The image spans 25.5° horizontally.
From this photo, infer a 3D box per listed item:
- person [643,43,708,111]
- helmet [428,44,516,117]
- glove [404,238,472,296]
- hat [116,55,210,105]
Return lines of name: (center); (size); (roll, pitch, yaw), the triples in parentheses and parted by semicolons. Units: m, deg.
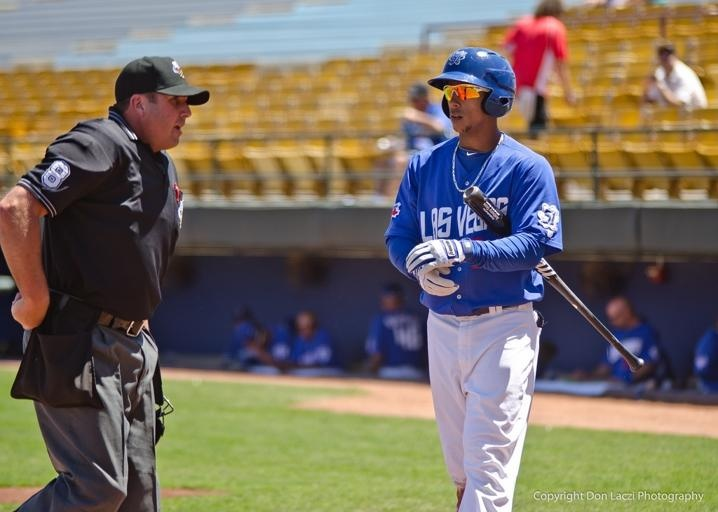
person: (3.131, -1.726, 15.476); (0.469, 0.562, 0.735); (1, 2, 6)
helmet: (0.894, -1.278, 11.851); (0.649, 0.443, 0.472); (5, -4, -13)
glove: (0.574, 0.076, 11.555); (0.465, 0.363, 0.220); (-33, 31, 25)
hat: (-1.474, -1.322, 11.873); (0.750, 0.337, 0.448); (-2, 1, 14)
